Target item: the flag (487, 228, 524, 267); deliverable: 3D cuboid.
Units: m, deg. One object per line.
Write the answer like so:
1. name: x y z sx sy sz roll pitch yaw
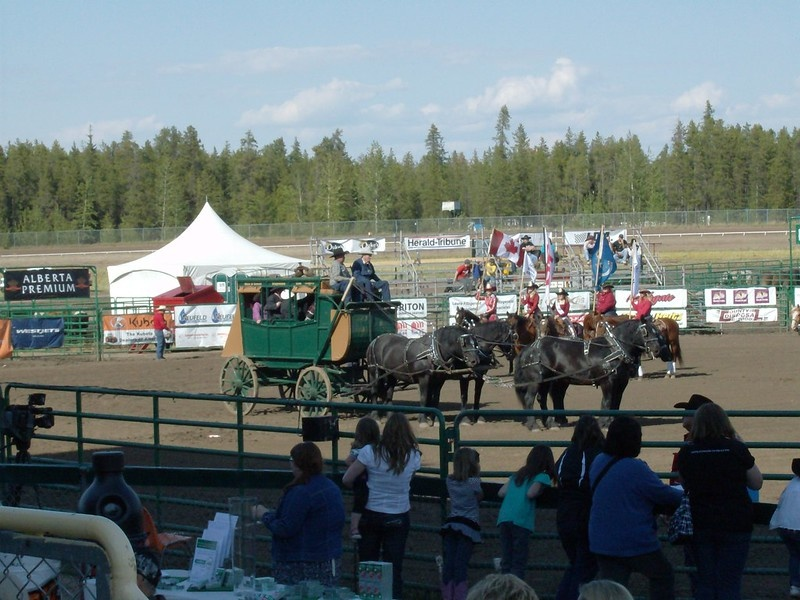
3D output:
1. flag: 4.989 -2.498 80.824 1.855 1.116 0.188 8 -7 33

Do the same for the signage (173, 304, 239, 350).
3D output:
1. signage: -8.676 1.093 79.785 2.211 1.445 0.080 0 9 -16

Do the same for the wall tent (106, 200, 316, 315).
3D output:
1. wall tent: -10.399 -1.975 89.396 7.053 4.417 7.074 -2 -2 1

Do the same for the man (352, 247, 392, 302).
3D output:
1. man: -1.135 -0.897 68.442 1.607 2.153 1.132 5 5 40

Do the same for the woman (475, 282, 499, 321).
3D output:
1. woman: 3.947 0.263 76.856 0.711 1.624 0.566 7 12 39

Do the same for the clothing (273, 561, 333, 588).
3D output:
1. clothing: -2.927 8.674 55.956 1.939 0.848 0.272 -4 3 -1

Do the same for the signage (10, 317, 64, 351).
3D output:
1. signage: -16.257 1.455 80.411 2.265 1.441 0.469 -4 3 -9

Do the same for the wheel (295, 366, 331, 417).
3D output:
1. wheel: -3.073 3.331 65.003 1.792 1.821 0.485 3 -1 35

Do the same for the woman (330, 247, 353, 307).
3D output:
1. woman: -2.149 -0.963 68.102 1.006 2.149 1.005 5 11 18

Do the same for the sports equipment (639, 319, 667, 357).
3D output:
1. sports equipment: 9.320 1.400 65.652 1.000 1.531 0.525 -6 4 -37

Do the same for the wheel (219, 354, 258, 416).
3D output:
1. wheel: -5.974 3.204 67.151 2.168 2.204 0.564 8 3 40

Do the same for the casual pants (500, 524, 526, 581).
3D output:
1. casual pants: 3.694 8.062 56.958 0.996 1.844 0.445 -3 3 3
